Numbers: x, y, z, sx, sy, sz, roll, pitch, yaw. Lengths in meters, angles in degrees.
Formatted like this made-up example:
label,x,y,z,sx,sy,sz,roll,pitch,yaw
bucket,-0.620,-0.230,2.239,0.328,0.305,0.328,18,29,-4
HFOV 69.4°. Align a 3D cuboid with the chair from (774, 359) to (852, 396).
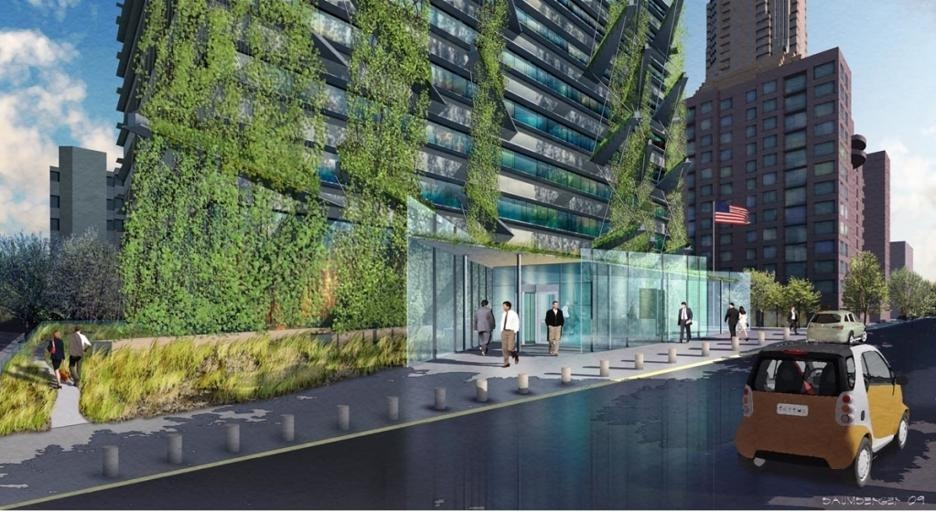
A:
label,x,y,z,sx,sy,sz,roll,pitch,yaw
chair,11.862,4.272,23.794,2.458,1.266,1.874,2,-9,-16
